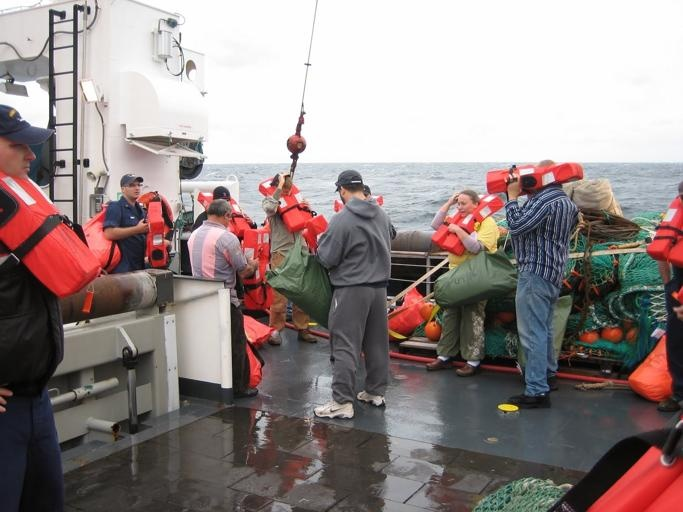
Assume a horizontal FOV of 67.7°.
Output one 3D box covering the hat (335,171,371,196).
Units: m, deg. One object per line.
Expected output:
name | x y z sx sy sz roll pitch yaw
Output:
hat | 0.090 -0.695 4.788 0.274 0.167 0.316 -1 26 -11

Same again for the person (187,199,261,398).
person | -1.161 0.407 5.038 0.623 1.950 0.812 -2 8 -16

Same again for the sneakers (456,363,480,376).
sneakers | 1.431 1.290 5.793 0.115 0.087 0.316 -7 -7 43

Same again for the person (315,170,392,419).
person | 0.098 0.448 4.638 0.784 1.979 0.391 -7 10 -41

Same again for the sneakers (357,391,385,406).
sneakers | 0.268 1.370 4.900 0.266 0.100 0.111 13 15 32

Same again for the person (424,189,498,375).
person | 1.414 0.272 5.894 0.743 2.113 0.740 4 9 29

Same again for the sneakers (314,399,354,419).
sneakers | -0.057 1.385 4.601 0.389 0.140 0.136 3 -6 2

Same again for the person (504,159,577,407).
person | 1.862 0.322 4.836 0.676 2.176 0.481 -1 8 -4

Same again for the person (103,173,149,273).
person | -2.394 -0.375 5.648 0.441 1.071 0.490 -3 8 -20

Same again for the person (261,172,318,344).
person | -0.718 0.042 6.918 0.656 2.311 0.747 -1 8 -7

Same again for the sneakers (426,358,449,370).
sneakers | 1.114 1.272 5.983 0.312 0.100 0.110 1 -2 -27
